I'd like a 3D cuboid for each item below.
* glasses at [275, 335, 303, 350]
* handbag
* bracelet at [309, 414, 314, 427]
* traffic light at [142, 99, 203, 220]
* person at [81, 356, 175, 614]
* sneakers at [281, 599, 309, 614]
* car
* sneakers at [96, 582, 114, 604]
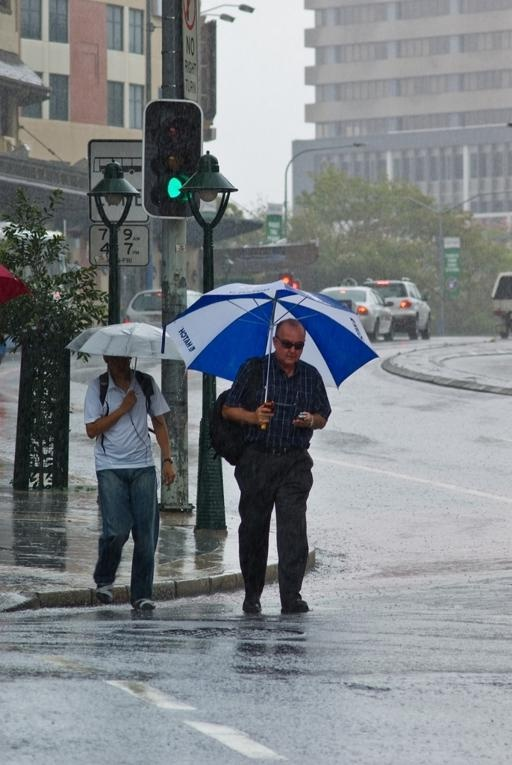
[{"bbox_3d":[0.160,-0.199,9.133,0.147,0.081,0.139,1,2,0],"label":"glasses"},{"bbox_3d":[-0.145,0.220,9.281,0.163,0.397,0.234,-10,15,-11],"label":"handbag"},{"bbox_3d":[0.273,0.196,9.072,0.009,0.044,0.040,0,19,-7],"label":"bracelet"},{"bbox_3d":[-0.601,-1.536,12.980,0.417,1.121,0.167,2,-36,-5],"label":"traffic light"},{"bbox_3d":[-0.682,0.535,9.612,0.441,1.329,0.392,0,2,-4],"label":"person"},{"bbox_3d":[0.202,1.160,9.310,0.100,0.086,0.043,-9,-26,11],"label":"sneakers"},{"bbox_3d":[2.108,-1.483,37.605,1.036,1.185,3.006,0,4,12],"label":"car"},{"bbox_3d":[-0.820,1.135,9.756,0.073,0.120,0.258,0,-5,4],"label":"sneakers"}]
